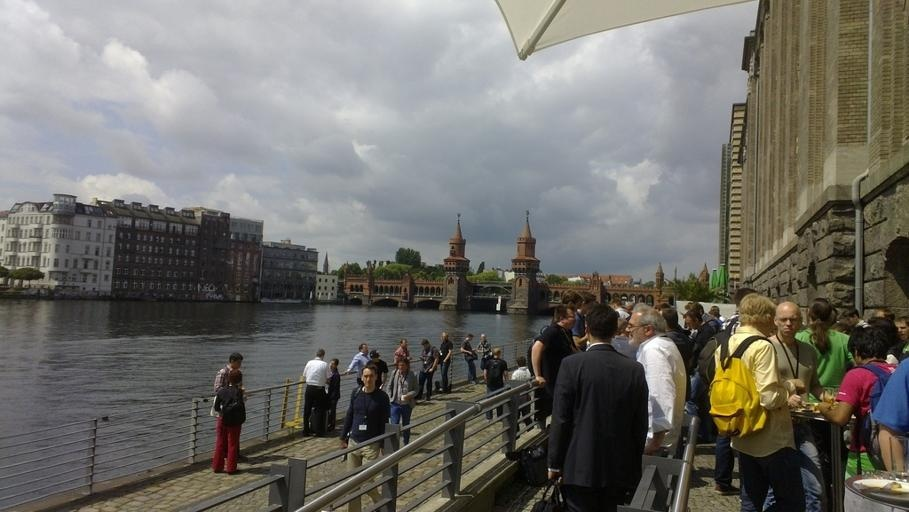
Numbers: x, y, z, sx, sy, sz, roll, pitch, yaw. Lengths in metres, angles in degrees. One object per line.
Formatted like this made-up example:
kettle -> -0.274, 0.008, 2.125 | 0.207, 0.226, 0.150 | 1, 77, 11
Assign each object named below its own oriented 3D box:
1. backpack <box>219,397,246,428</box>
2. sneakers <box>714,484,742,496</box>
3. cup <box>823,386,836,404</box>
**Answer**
backpack -> -5.084, 3.631, 13.242 | 0.528, 0.644, 0.440 | 2, -8, -20
sneakers -> 4.713, 3.996, 9.865 | 0.484, 0.179, 0.163 | -1, -2, -23
cup -> 5.476, 2.042, 8.391 | 0.179, 0.246, 0.171 | -1, 1, 0
